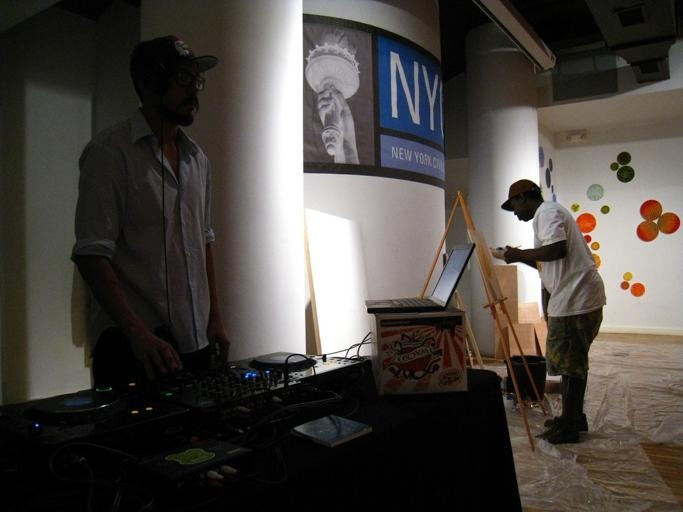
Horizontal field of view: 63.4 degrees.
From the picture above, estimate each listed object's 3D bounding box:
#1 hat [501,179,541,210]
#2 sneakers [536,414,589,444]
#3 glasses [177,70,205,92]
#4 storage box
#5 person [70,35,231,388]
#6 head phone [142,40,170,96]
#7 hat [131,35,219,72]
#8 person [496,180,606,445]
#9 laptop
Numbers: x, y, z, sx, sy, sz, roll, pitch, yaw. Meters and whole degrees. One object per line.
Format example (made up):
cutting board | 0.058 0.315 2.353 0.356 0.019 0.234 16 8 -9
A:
hat | 1.267 -0.459 3.946 0.266 0.156 0.198 -15 2 24
sneakers | 1.537 1.144 3.671 0.434 0.206 0.155 -4 1 7
glasses | -0.539 -0.632 2.005 0.060 0.030 0.063 7 7 22
storage box | 0.287 0.333 2.075 0.277 0.271 0.299 -2 -5 -1
person | -0.678 -0.173 2.010 0.552 1.225 0.475 -3 5 -30
head phone | -0.645 -0.681 2.017 0.101 0.160 0.117 3 7 31
hat | -0.605 -0.716 2.024 0.247 0.135 0.158 -21 17 -6
person | 1.424 0.347 3.740 0.647 1.726 0.502 3 5 35
laptop | 0.318 0.082 2.347 0.424 0.293 0.474 2 -1 -3
